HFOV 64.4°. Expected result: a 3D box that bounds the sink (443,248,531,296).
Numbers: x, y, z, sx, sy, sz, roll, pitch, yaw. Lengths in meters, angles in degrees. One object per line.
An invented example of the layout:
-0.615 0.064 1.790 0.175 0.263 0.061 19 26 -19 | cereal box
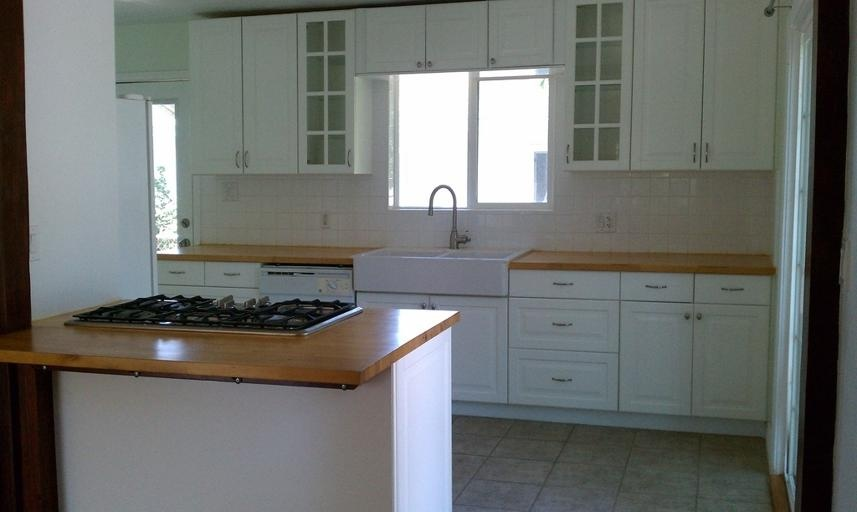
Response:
0.377 0.116 4.781 0.376 0.181 0.490 1 6 11 | sink

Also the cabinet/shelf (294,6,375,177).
-0.791 -1.259 5.287 0.466 1.213 0.188 1 10 3 | cabinet/shelf

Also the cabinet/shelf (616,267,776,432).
1.786 0.567 4.450 1.211 1.023 0.593 0 0 15 | cabinet/shelf

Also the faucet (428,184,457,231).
0.108 -0.378 5.375 0.244 0.366 0.300 0 10 1 | faucet

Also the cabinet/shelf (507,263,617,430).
1.053 0.582 4.920 0.840 0.953 0.699 0 -5 18 | cabinet/shelf

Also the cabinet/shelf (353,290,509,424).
0.018 0.647 4.870 0.939 0.769 0.497 8 -15 -29 | cabinet/shelf
